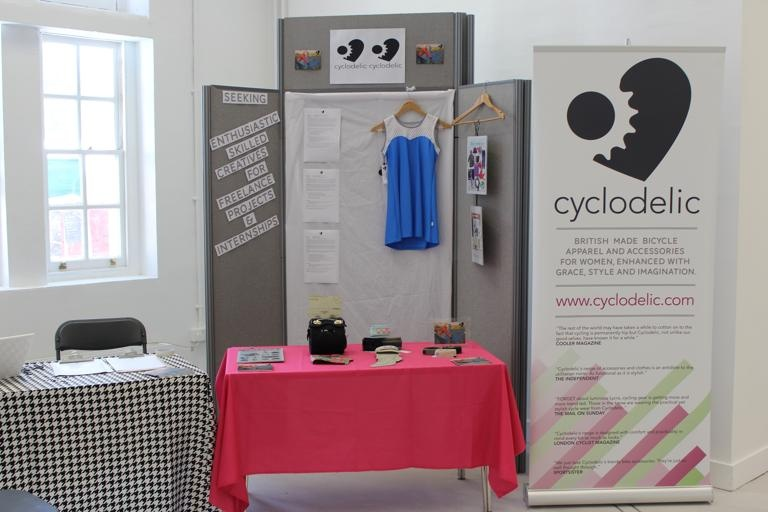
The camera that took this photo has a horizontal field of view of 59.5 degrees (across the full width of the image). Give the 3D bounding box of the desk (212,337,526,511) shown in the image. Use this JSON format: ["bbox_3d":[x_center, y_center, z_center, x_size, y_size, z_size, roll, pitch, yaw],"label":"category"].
[{"bbox_3d":[-0.119,1.126,4.242,1.957,0.848,0.492,-4,10,-15],"label":"desk"}]

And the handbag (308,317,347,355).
[{"bbox_3d":[-0.378,0.526,4.541,0.295,0.264,0.215,1,5,-4],"label":"handbag"}]

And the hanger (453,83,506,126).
[{"bbox_3d":[0.705,-1.111,5.046,0.102,0.240,0.452,-10,13,-39],"label":"hanger"}]
